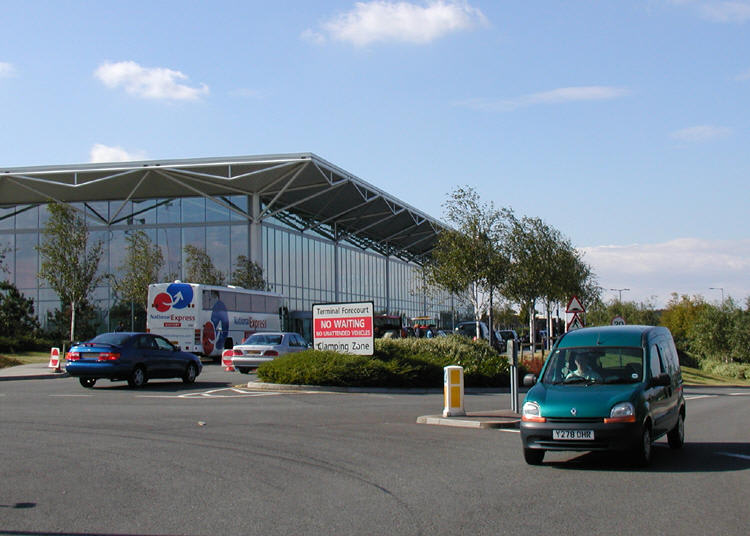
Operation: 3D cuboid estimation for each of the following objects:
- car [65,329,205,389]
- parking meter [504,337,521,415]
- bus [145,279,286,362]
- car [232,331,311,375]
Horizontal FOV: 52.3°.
[{"bbox_3d":[-7.769,3.013,24.819,1.159,1.723,3.873,-5,-9,40],"label":"car"},{"bbox_3d":[3.521,2.773,19.107,0.309,1.908,0.373,-5,5,-7],"label":"parking meter"},{"bbox_3d":[-8.960,2.883,43.048,2.964,4.172,9.764,-1,-3,25],"label":"bus"},{"bbox_3d":[-4.118,3.190,29.724,2.616,1.374,1.529,3,-7,-26],"label":"car"}]
